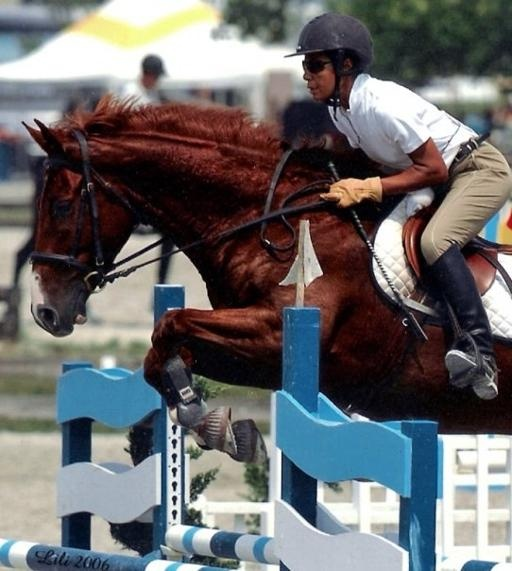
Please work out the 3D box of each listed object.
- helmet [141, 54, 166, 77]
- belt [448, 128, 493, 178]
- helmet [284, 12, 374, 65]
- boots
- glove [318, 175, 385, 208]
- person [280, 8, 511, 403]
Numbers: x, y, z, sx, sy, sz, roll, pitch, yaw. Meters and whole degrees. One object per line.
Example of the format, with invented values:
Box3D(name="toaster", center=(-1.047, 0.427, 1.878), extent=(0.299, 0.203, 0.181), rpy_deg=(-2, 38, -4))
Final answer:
Box3D(name="helmet", center=(-0.739, -1.564, 11.718), extent=(0.191, 0.186, 0.152), rpy_deg=(0, -3, -1))
Box3D(name="belt", center=(0.993, -0.627, 7.703), extent=(0.215, 0.065, 0.159), rpy_deg=(-43, -4, 4))
Box3D(name="helmet", center=(0.339, -1.145, 7.764), extent=(0.442, 0.220, 0.324), rpy_deg=(4, 4, -6))
Box3D(name="boots", center=(0.940, 0.180, 7.452), extent=(0.305, 0.703, 0.324), rpy_deg=(0, 4, 7))
Box3D(name="glove", center=(0.436, -0.429, 7.557), extent=(0.231, 0.087, 0.128), rpy_deg=(-4, 39, 16))
Box3D(name="person", center=(0.699, -0.368, 7.559), extent=(0.994, 1.781, 0.610), rpy_deg=(0, 4, 0))
